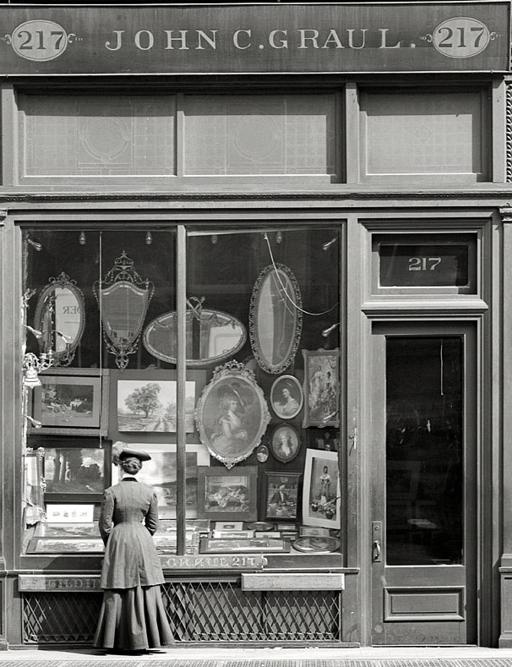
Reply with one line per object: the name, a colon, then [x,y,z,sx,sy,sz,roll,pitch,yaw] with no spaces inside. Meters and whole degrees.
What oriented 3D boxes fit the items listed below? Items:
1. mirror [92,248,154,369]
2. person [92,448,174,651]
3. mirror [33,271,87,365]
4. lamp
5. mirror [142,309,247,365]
mirror: [-1.026,-0.166,13.113,0.348,1.036,0.239,-1,3,-2]
person: [-0.891,1.581,12.515,0.612,1.452,0.483,1,-5,-5]
mirror: [-1.531,-0.097,13.109,0.396,0.743,0.023,4,-6,13]
lamp: [-0.586,-0.742,12.995,1.574,0.110,0.093,0,-4,2]
mirror: [-0.396,0.025,13.238,0.756,0.436,0.352,-1,0,21]
